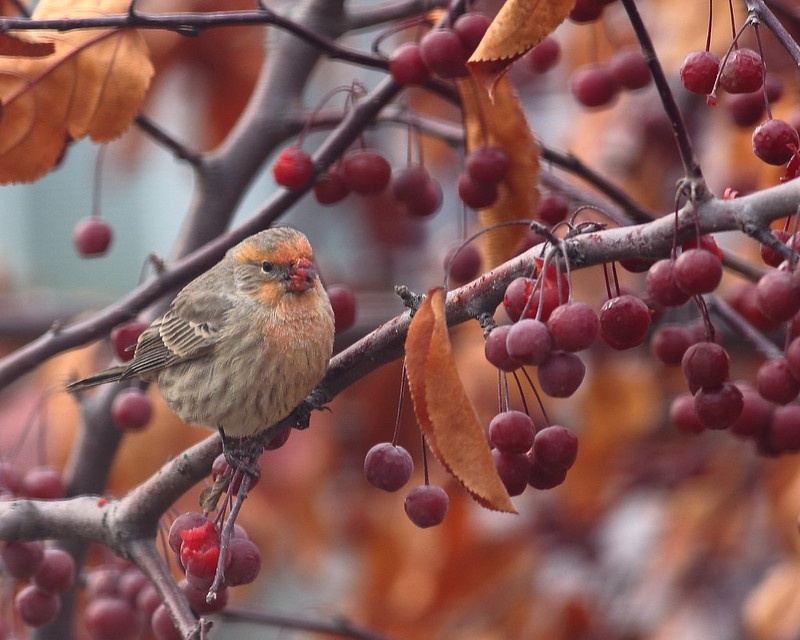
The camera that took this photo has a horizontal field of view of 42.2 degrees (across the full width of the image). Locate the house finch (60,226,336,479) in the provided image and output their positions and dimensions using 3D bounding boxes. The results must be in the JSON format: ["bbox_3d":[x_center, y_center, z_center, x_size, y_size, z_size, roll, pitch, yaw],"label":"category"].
[{"bbox_3d":[-0.432,0.073,2.877,0.773,0.482,0.718,2,-86,24],"label":"house finch"}]
